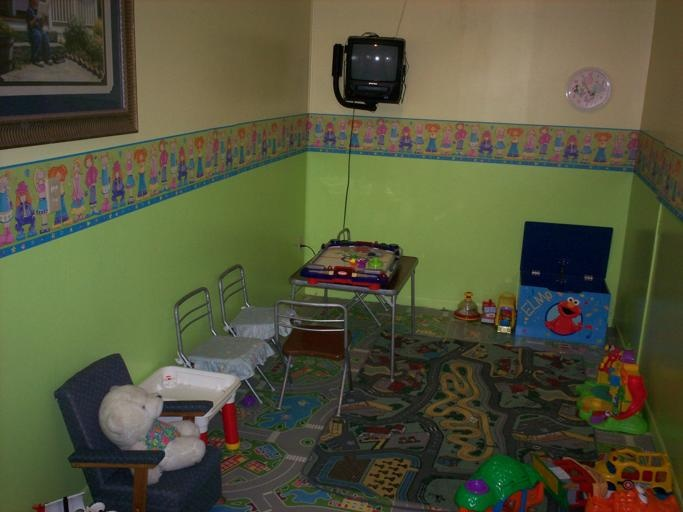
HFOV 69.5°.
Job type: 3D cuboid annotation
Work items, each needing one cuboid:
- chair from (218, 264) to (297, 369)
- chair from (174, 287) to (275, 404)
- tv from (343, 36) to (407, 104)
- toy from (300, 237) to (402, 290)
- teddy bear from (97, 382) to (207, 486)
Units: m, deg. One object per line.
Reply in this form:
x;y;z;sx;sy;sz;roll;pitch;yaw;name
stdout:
-0.764;0.558;4.322;0.529;0.917;0.594;3;28;8;chair
-0.926;0.723;3.824;0.695;0.841;0.652;6;23;12;chair
0.319;-1.925;5.304;0.723;0.673;0.673;3;19;3;tv
0.095;0.074;4.499;0.802;0.231;0.808;6;14;12;toy
-1.007;0.938;2.769;0.514;0.485;0.479;-8;30;-11;teddy bear
